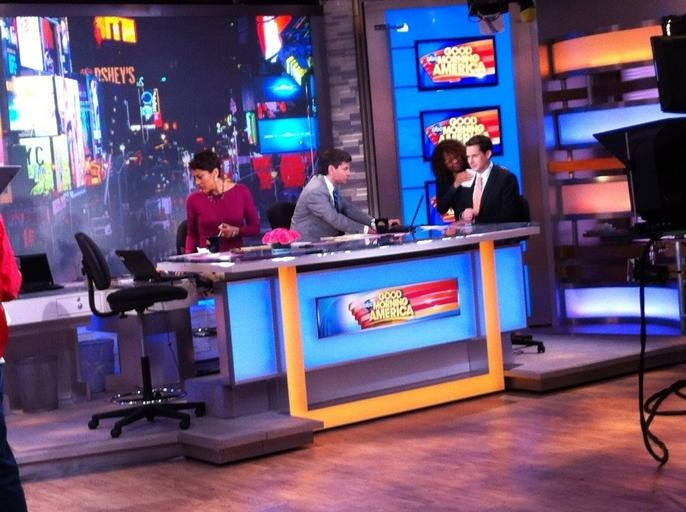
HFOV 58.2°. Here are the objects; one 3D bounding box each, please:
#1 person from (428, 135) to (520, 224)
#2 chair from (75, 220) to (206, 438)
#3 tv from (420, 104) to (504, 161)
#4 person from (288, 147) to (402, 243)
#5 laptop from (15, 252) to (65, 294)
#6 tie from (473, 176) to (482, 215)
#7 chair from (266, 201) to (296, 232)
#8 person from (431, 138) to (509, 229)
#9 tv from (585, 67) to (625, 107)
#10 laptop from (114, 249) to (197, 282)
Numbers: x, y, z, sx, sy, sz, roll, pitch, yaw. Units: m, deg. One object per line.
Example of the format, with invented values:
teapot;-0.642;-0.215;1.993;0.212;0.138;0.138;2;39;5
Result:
person;1.196;-0.689;5.685;0.485;0.808;0.865;-7;4;-36
chair;-1.549;0.510;4.612;0.775;1.118;1.397;-6;3;-24
tv;1.192;-1.280;6.400;0.778;0.491;0.026;-3;-4;-2
person;0.096;-0.563;5.497;1.020;0.891;0.673;-1;11;3
laptop;-2.654;0.110;5.520;0.362;0.449;0.460;-3;-1;43
tie;1.220;-0.548;5.565;0.056;0.392;0.048;-3;-6;31
chair;-0.624;-0.379;6.113;0.264;0.297;0.267;-1;5;-21
person;1.070;-0.704;5.898;0.581;0.793;0.333;-1;12;-1
tv;2.917;-1.844;6.843;0.345;0.362;0.367;0;4;43
laptop;-1.426;0.078;4.622;0.344;0.175;0.352;-1;-1;-35
